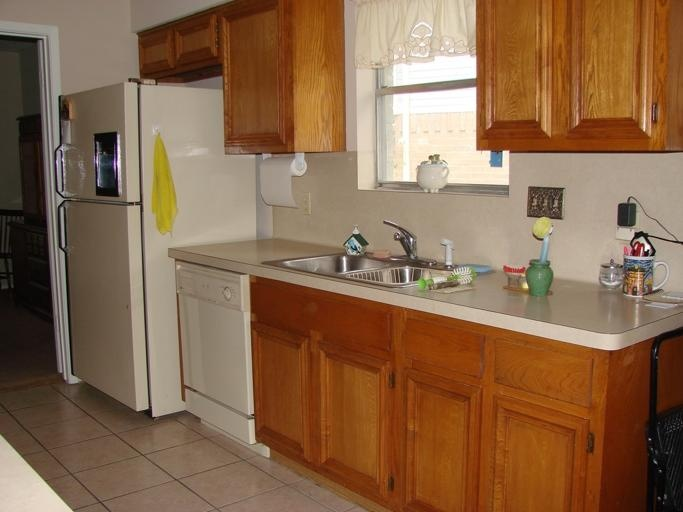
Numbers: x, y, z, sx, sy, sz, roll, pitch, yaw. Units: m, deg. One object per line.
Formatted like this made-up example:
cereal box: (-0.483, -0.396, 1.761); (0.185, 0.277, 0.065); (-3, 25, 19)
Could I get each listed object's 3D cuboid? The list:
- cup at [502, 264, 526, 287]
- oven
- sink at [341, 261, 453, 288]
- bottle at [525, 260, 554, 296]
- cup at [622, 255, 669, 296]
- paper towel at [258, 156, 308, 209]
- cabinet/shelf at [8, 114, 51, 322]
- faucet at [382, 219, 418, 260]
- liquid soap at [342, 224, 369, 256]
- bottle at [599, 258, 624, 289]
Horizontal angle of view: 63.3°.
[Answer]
cup: (0.745, 0.089, 2.373); (0.098, 0.089, 0.081); (7, 12, 43)
oven: (-0.567, 0.494, 3.443); (0.815, 0.993, 0.849); (-4, 12, -21)
sink: (0.289, 0.084, 2.809); (0.208, 0.105, 0.252); (-4, 6, -29)
bottle: (0.776, 0.075, 2.182); (0.117, 0.154, 0.123); (-1, 4, 0)
cup: (1.203, 0.069, 2.200); (0.190, 0.187, 0.126); (0, 4, -5)
paper towel: (-0.339, -0.450, 3.334); (0.090, 0.329, 0.303); (-7, 10, -42)
cabinet/shelf: (-3.327, -0.452, 5.907); (0.316, 2.069, 1.194); (-7, 11, -36)
faucet: (0.331, -0.086, 2.872); (0.125, 0.185, 0.204); (1, 10, 6)
liquid soap: (0.073, -0.085, 3.017); (0.103, 0.154, 0.155); (-3, 10, -17)
bottle: (1.093, 0.065, 2.217); (0.083, 0.118, 0.107); (7, 12, 36)
